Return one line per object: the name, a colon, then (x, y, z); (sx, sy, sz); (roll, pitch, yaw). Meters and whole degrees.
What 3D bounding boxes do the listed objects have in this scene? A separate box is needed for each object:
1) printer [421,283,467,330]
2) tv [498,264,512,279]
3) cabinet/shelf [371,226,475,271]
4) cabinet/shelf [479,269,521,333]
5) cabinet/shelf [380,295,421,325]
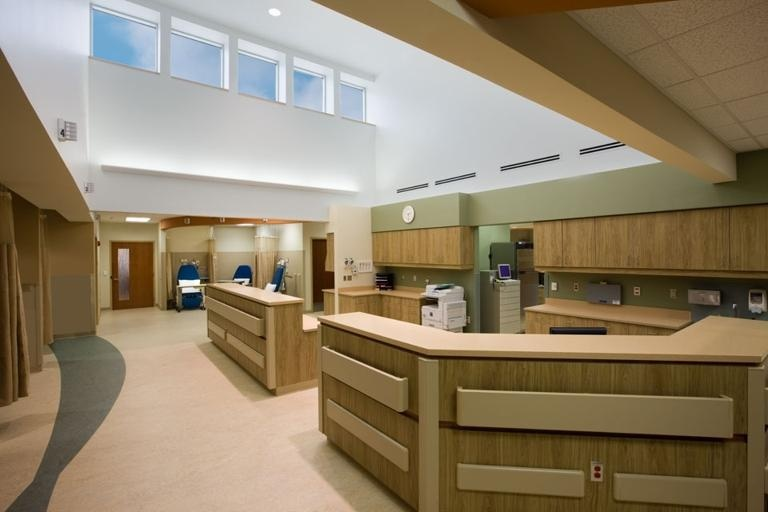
printer: (1.172, 1.031, 9.969); (0.892, 0.891, 0.617); (1, 14, 4)
tv: (2.398, 0.307, 10.246); (0.276, 0.285, 0.098); (2, -8, -28)
cabinet/shelf: (0.798, -0.212, 10.624); (0.507, 1.133, 2.342); (-14, 20, -42)
cabinet/shelf: (2.308, 0.931, 10.119); (0.885, 1.228, 0.639); (2, 14, 8)
cabinet/shelf: (0.358, 1.033, 9.990); (0.178, 0.519, 0.534); (-3, 4, -41)
